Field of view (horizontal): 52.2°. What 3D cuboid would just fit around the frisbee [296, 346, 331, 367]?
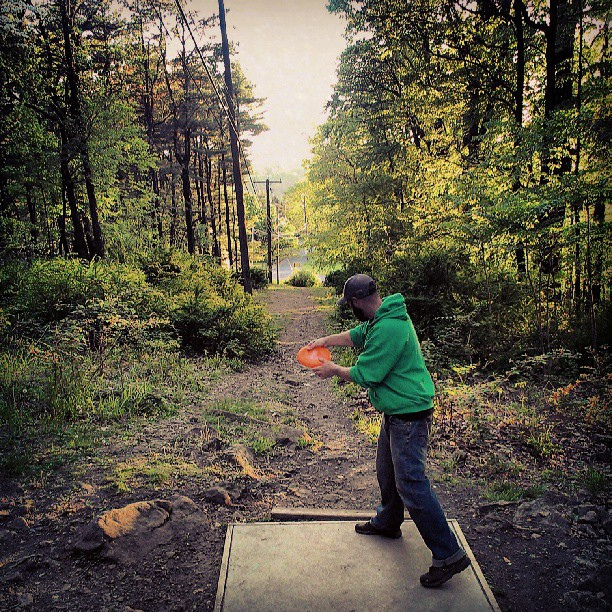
[{"bbox_3d":[0.089,0.612,7.425,0.229,0.168,0.276,6,14,11],"label":"frisbee"}]
